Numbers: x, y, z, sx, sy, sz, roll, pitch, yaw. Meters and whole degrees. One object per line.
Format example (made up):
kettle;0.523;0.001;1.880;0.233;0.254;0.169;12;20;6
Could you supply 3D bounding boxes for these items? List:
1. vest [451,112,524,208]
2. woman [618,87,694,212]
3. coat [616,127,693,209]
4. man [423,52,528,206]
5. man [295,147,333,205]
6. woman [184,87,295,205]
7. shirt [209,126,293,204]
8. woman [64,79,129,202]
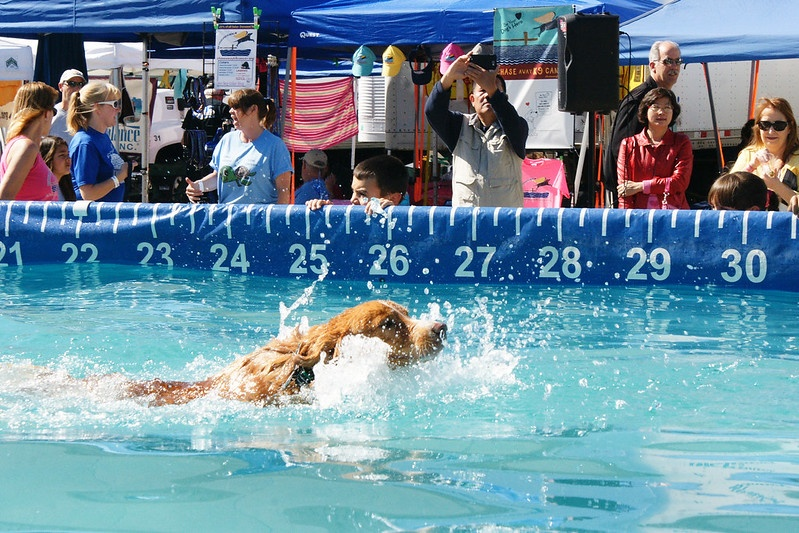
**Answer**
vest;0.797;-0.964;8.314;0.763;1.065;0.542;1;5;15
woman;2.660;-1.219;9.676;0.730;1.244;0.521;3;10;13
coat;2.696;-0.963;9.839;0.758;0.952;0.543;-1;11;15
man;0.698;-0.759;8.283;0.864;2.168;0.797;-3;-14;15
man;-1.194;-1.187;12.961;0.639;0.842;0.473;5;-5;-35
woman;-1.510;-1.153;8.975;0.937;1.098;0.564;1;10;-3
shirt;-1.494;-0.897;9.088;0.778;0.842;0.478;4;3;9
woman;-3.030;-1.243;9.363;0.556;1.207;0.710;-2;10;-19
